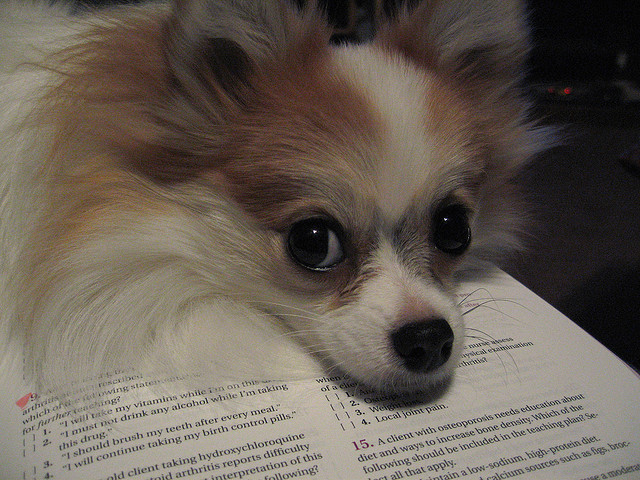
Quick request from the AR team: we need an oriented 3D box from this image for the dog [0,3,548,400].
[{"bbox_3d":[-0.209,-0.127,1.251,0.776,0.359,0.910,2,12,-29],"label":"dog"}]
